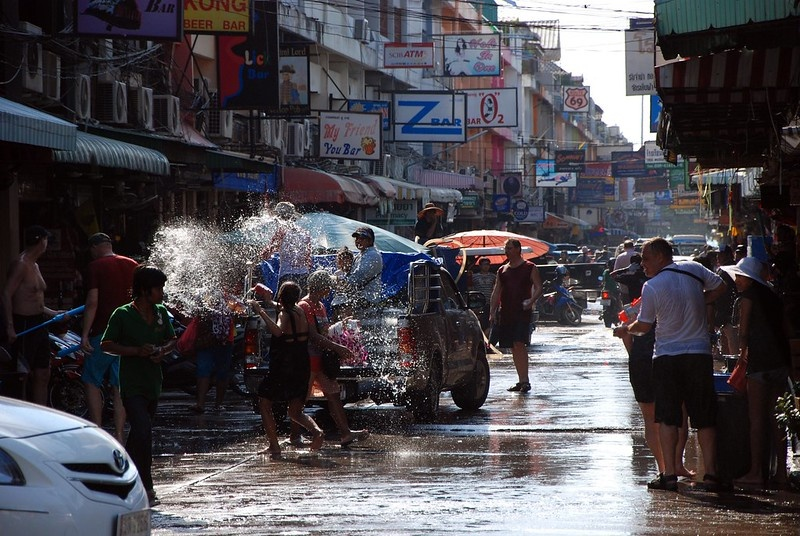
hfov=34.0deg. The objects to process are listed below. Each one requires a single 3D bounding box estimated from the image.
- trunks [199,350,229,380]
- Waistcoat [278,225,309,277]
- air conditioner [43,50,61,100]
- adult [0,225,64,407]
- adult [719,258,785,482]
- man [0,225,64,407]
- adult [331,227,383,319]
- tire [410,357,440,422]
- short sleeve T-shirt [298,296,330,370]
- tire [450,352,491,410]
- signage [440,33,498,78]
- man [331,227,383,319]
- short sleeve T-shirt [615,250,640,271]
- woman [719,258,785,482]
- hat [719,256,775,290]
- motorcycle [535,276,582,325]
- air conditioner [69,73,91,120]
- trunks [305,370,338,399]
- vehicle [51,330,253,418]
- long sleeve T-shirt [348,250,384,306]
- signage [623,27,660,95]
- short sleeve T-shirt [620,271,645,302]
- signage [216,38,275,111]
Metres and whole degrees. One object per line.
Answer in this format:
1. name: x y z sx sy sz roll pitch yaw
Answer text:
1. trunks: -2.753 1.407 19.230 0.352 0.397 0.203 3 6 -22
2. Waistcoat: -1.585 -0.228 19.279 0.599 0.946 0.483 1 -7 -15
3. air conditioner: -6.146 -3.318 23.018 0.264 0.844 0.829 -1 1 -10
4. adult: -4.750 0.616 16.677 0.554 2.259 0.763 -1 1 4
5. adult: 4.079 1.153 14.671 0.612 2.521 0.464 -1 1 14
6. man: -4.752 0.616 16.678 0.554 2.259 0.766 -1 1 3
7. adult: -0.639 0.305 18.485 0.728 1.813 0.752 3 -2 9
8. tire: 0.326 1.664 18.053 0.288 0.948 0.881 1 0 10
9. short sleeve T-shirt: -1.053 0.972 16.956 0.288 1.185 0.514 -5 21 8
10. tire: 1.246 1.711 19.822 0.271 0.849 0.772 6 7 -32
11. signage: 2.517 -7.653 47.212 2.026 1.648 0.356 3 9 26
12. man: -0.664 0.308 18.467 0.752 1.820 0.714 6 -4 -10
13. short sleeve T-shirt: 4.723 -0.141 27.089 0.405 0.504 0.265 6 21 10
14. woman: 4.077 1.153 14.667 0.611 2.521 0.455 -1 1 14
15. hat: 3.982 0.045 14.792 0.400 0.183 0.396 21 2 -4
16. motorcycle: 4.404 1.019 35.848 1.440 1.072 0.860 -8 5 -15
17. air conditioner: -5.721 -3.034 23.484 0.220 0.822 0.537 -1 1 21
18. trunks: -0.995 1.520 17.071 0.448 0.502 0.279 7 -2 14
19. vehicle: -3.970 1.632 19.530 2.480 1.738 1.448 1 -7 -23
20. long sleeve T-shirt: -0.515 0.008 18.464 0.485 0.874 0.712 -6 26 -13
21. signage: 6.388 -5.439 34.330 0.837 2.122 0.162 0 42 11
22. short sleeve T-shirt: 3.583 0.270 20.038 0.386 0.624 0.298 3 6 30
23. signage: -3.258 -4.226 28.224 1.361 2.083 0.173 3 -24 -13
